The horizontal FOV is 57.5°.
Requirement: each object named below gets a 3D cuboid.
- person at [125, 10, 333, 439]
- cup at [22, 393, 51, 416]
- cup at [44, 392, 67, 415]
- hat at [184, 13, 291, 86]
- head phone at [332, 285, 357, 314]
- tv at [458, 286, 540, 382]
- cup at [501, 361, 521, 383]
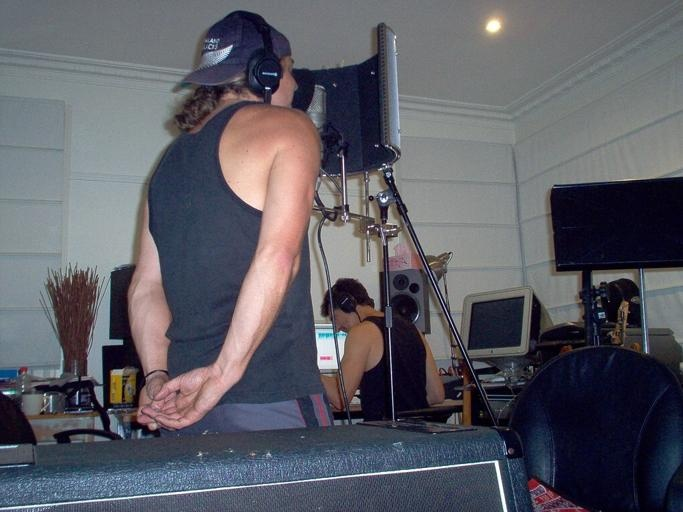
[{"bbox_3d":[-0.323,-0.139,1.728,0.572,1.215,0.360,0,-4,-5],"label":"person"},{"bbox_3d":[-1.717,0.831,3.488,0.182,0.141,0.120,3,-10,-14],"label":"cup"},{"bbox_3d":[-1.636,0.857,3.588,0.125,0.131,0.090,6,-13,-21],"label":"cup"},{"bbox_3d":[-0.311,-0.606,1.849,0.295,0.164,0.193,-18,22,-38],"label":"hat"},{"bbox_3d":[0.014,0.247,3.403,0.061,0.124,0.175,-43,-8,-14],"label":"head phone"},{"bbox_3d":[0.911,0.456,3.574,0.287,0.561,0.523,13,-20,-37],"label":"tv"},{"bbox_3d":[0.948,0.658,3.507,0.101,0.143,0.139,-6,-16,30],"label":"cup"}]
